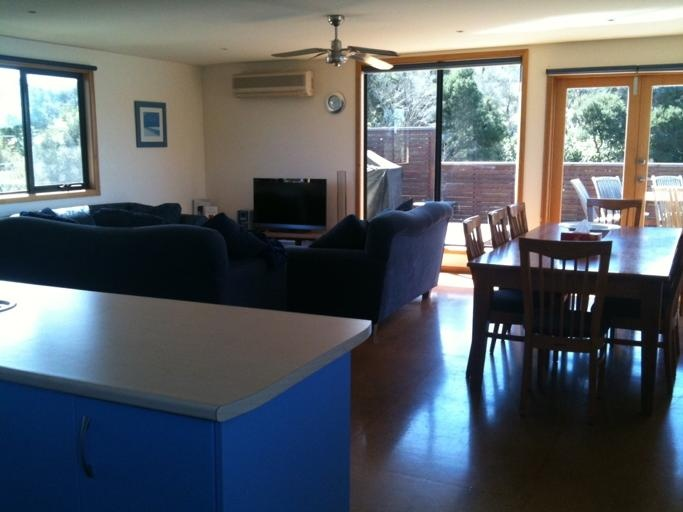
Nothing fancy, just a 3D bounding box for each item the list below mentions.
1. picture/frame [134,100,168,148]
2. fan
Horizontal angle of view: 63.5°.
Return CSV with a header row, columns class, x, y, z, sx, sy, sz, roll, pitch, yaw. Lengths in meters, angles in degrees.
class,x,y,z,sx,sy,sz,roll,pitch,yaw
picture/frame,-2.511,-1.731,7.213,0.047,0.659,0.616,6,11,31
fan,-0.034,-2.244,5.772,0.810,0.324,0.773,-9,14,-37
